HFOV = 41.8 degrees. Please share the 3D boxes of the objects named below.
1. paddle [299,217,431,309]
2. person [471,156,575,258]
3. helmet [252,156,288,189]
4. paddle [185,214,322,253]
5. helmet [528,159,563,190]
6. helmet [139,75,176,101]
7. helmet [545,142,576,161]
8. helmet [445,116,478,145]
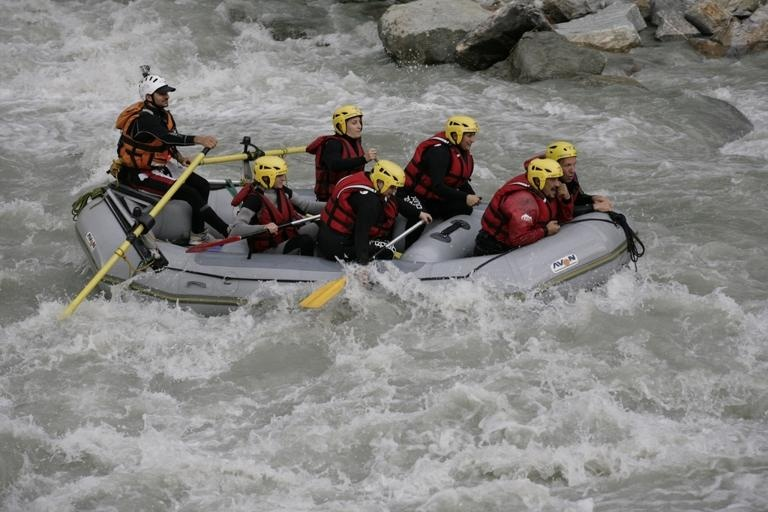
[{"bbox_3d":[-0.250,0.127,12.774,2.388,0.093,0.232,-28,65,-24],"label":"paddle"},{"bbox_3d":[1.797,-0.583,12.776,1.194,1.218,0.700,-23,39,-27],"label":"person"},{"bbox_3d":[-1.387,-1.090,12.872,0.525,0.314,0.358,2,22,27],"label":"helmet"},{"bbox_3d":[-1.645,-0.285,13.101,2.297,0.228,0.115,-10,12,-10],"label":"paddle"},{"bbox_3d":[2.046,-1.012,12.740,0.467,0.315,0.345,9,12,31],"label":"helmet"},{"bbox_3d":[-3.014,-2.253,13.335,0.531,0.231,0.306,-11,21,12],"label":"helmet"},{"bbox_3d":[2.279,-1.334,13.008,0.428,0.255,0.295,18,18,22],"label":"helmet"},{"bbox_3d":[1.022,-1.699,13.403,0.497,0.294,0.343,4,24,7],"label":"helmet"}]
